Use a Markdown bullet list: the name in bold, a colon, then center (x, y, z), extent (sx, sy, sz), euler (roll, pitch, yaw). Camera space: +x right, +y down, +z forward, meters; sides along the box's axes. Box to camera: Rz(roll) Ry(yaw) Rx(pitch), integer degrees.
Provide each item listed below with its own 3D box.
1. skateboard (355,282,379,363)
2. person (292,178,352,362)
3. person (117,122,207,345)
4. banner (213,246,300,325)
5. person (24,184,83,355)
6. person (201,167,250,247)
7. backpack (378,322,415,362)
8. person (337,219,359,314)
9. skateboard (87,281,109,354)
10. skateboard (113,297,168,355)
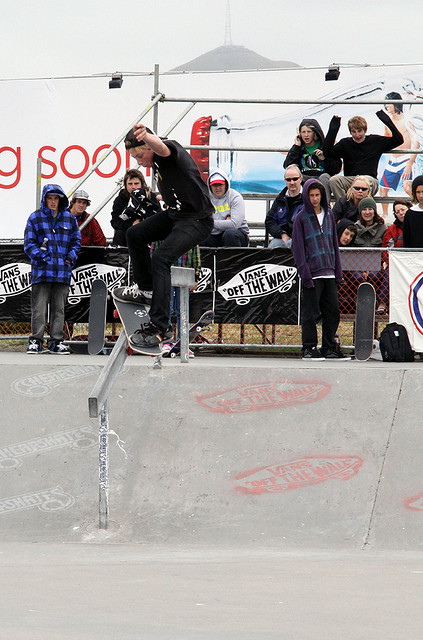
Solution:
- **skateboard**: center (1.384, 0.018, 8.734), extent (0.169, 0.686, 0.333), euler (2, 7, 8)
- **person**: center (0.980, -0.445, 8.619), extent (0.461, 1.587, 0.477), euler (0, 7, -12)
- **person**: center (-0.365, -0.628, 7.304), extent (0.666, 1.565, 1.210), euler (0, 7, -6)
- **banner**: center (0.411, -0.278, 9.103), extent (1.051, 0.778, 0.073), euler (-3, -5, 38)
- **person**: center (-1.488, -0.479, 9.048), extent (0.519, 1.551, 0.560), euler (0, 7, -9)
- **person**: center (0.167, -1.102, 9.566), extent (0.517, 0.738, 0.501), euler (3, 7, 19)
- **backpack**: center (1.680, 0.199, 8.694), extent (0.278, 0.320, 0.185), euler (-12, -29, -4)
- **person**: center (1.304, -0.513, 9.250), extent (0.253, 0.844, 0.138), euler (0, 7, 7)
- **skateboard**: center (-1.057, -0.026, 9.043), extent (0.187, 0.662, 0.117), euler (3, -8, 11)
- **skateboard**: center (-0.587, 0.022, 7.347), extent (0.220, 0.093, 0.671), euler (2, 31, -26)
